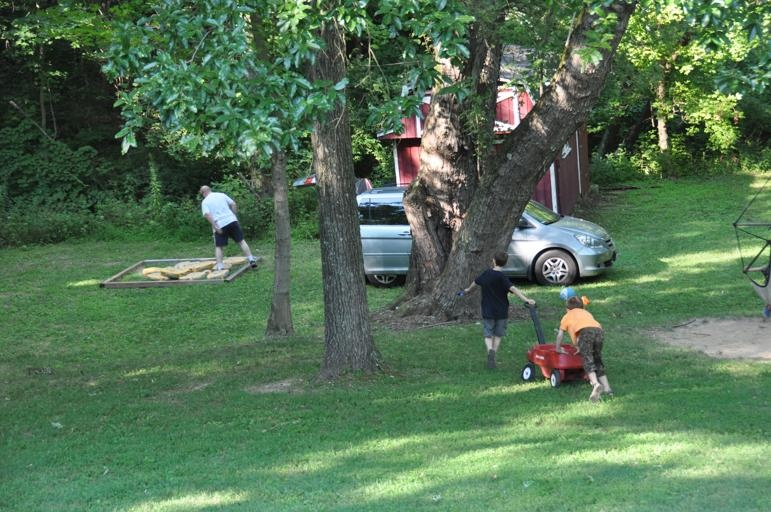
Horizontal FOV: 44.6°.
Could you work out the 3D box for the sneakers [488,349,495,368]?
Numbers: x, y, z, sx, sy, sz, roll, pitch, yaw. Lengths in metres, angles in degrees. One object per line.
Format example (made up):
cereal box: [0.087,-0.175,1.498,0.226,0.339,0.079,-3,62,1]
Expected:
sneakers: [1.963,1.896,17.364,0.138,0.333,0.244,-1,6,8]

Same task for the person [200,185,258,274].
person: [-4.048,-0.708,24.162,1.192,2.128,1.121,-3,6,-6]

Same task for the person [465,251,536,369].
person: [2.039,0.995,17.502,0.809,2.101,1.279,-5,6,-22]

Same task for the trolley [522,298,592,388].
trolley: [2.995,1.580,16.859,0.899,1.285,1.493,-6,9,-28]

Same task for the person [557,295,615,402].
person: [3.417,1.545,16.200,0.914,1.672,1.163,-1,6,10]

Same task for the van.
van: [2.503,-0.392,23.349,5.932,2.120,2.677,-3,6,9]

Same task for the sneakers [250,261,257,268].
sneakers: [-3.470,0.224,24.481,0.148,0.149,0.337,-1,-10,-10]

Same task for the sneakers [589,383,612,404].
sneakers: [3.614,2.295,15.766,0.201,0.227,0.505,-28,-17,-4]
